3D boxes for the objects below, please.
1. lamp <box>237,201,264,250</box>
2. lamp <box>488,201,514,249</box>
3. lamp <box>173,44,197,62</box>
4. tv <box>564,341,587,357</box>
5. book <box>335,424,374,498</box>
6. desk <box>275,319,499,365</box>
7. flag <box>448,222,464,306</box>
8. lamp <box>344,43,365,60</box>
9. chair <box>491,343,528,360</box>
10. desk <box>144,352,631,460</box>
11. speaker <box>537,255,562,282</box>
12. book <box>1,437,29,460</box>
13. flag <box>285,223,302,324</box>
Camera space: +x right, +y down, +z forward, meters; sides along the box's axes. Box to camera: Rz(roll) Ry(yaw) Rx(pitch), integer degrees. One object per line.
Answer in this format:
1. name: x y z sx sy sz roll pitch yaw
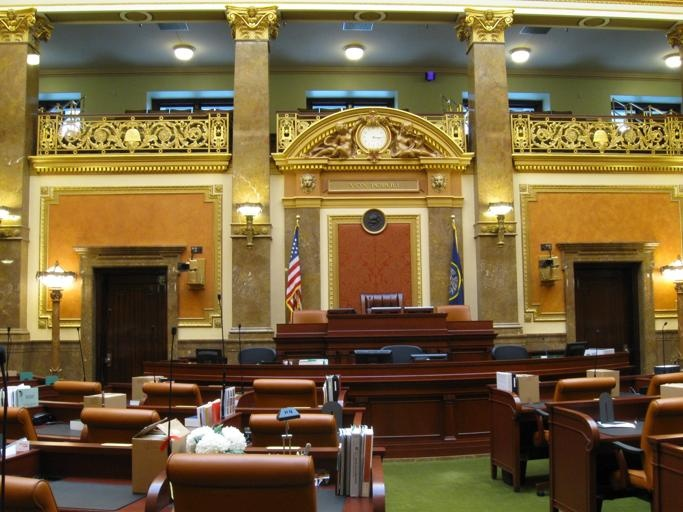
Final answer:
1. lamp: -1.777 -0.641 16.241 0.746 0.878 0.753 1 -2 -1
2. lamp: 3.160 -0.634 16.579 0.478 0.850 0.310 -1 -5 1
3. lamp: -3.559 -4.591 18.934 0.322 0.110 0.311 -5 -18 2
4. tv: 3.932 1.548 14.131 0.316 0.282 0.223 5 0 -5
5. book: 0.005 2.151 8.927 0.620 0.797 0.637 1 -2 -3
6. desk: 0.797 1.683 15.192 4.034 1.219 1.069 -1 1 -3
7. flag: 2.275 0.069 16.691 0.259 1.779 0.435 -2 -5 12
8. lamp: 0.306 -4.654 19.321 0.479 0.188 0.765 -1 -5 0
9. chair: 2.912 1.678 14.607 0.371 0.323 0.397 3 -4 -8
10. desk: 0.183 2.388 12.343 1.200 1.244 6.882 -24 -21 35
11. speaker: 4.203 0.259 16.893 0.447 0.527 0.161 0 -5 -8
12. book: -3.510 2.070 9.047 0.263 0.088 0.195 0 -8 -29
13. flag: -0.935 0.190 16.380 0.322 2.043 0.683 0 -5 -3
